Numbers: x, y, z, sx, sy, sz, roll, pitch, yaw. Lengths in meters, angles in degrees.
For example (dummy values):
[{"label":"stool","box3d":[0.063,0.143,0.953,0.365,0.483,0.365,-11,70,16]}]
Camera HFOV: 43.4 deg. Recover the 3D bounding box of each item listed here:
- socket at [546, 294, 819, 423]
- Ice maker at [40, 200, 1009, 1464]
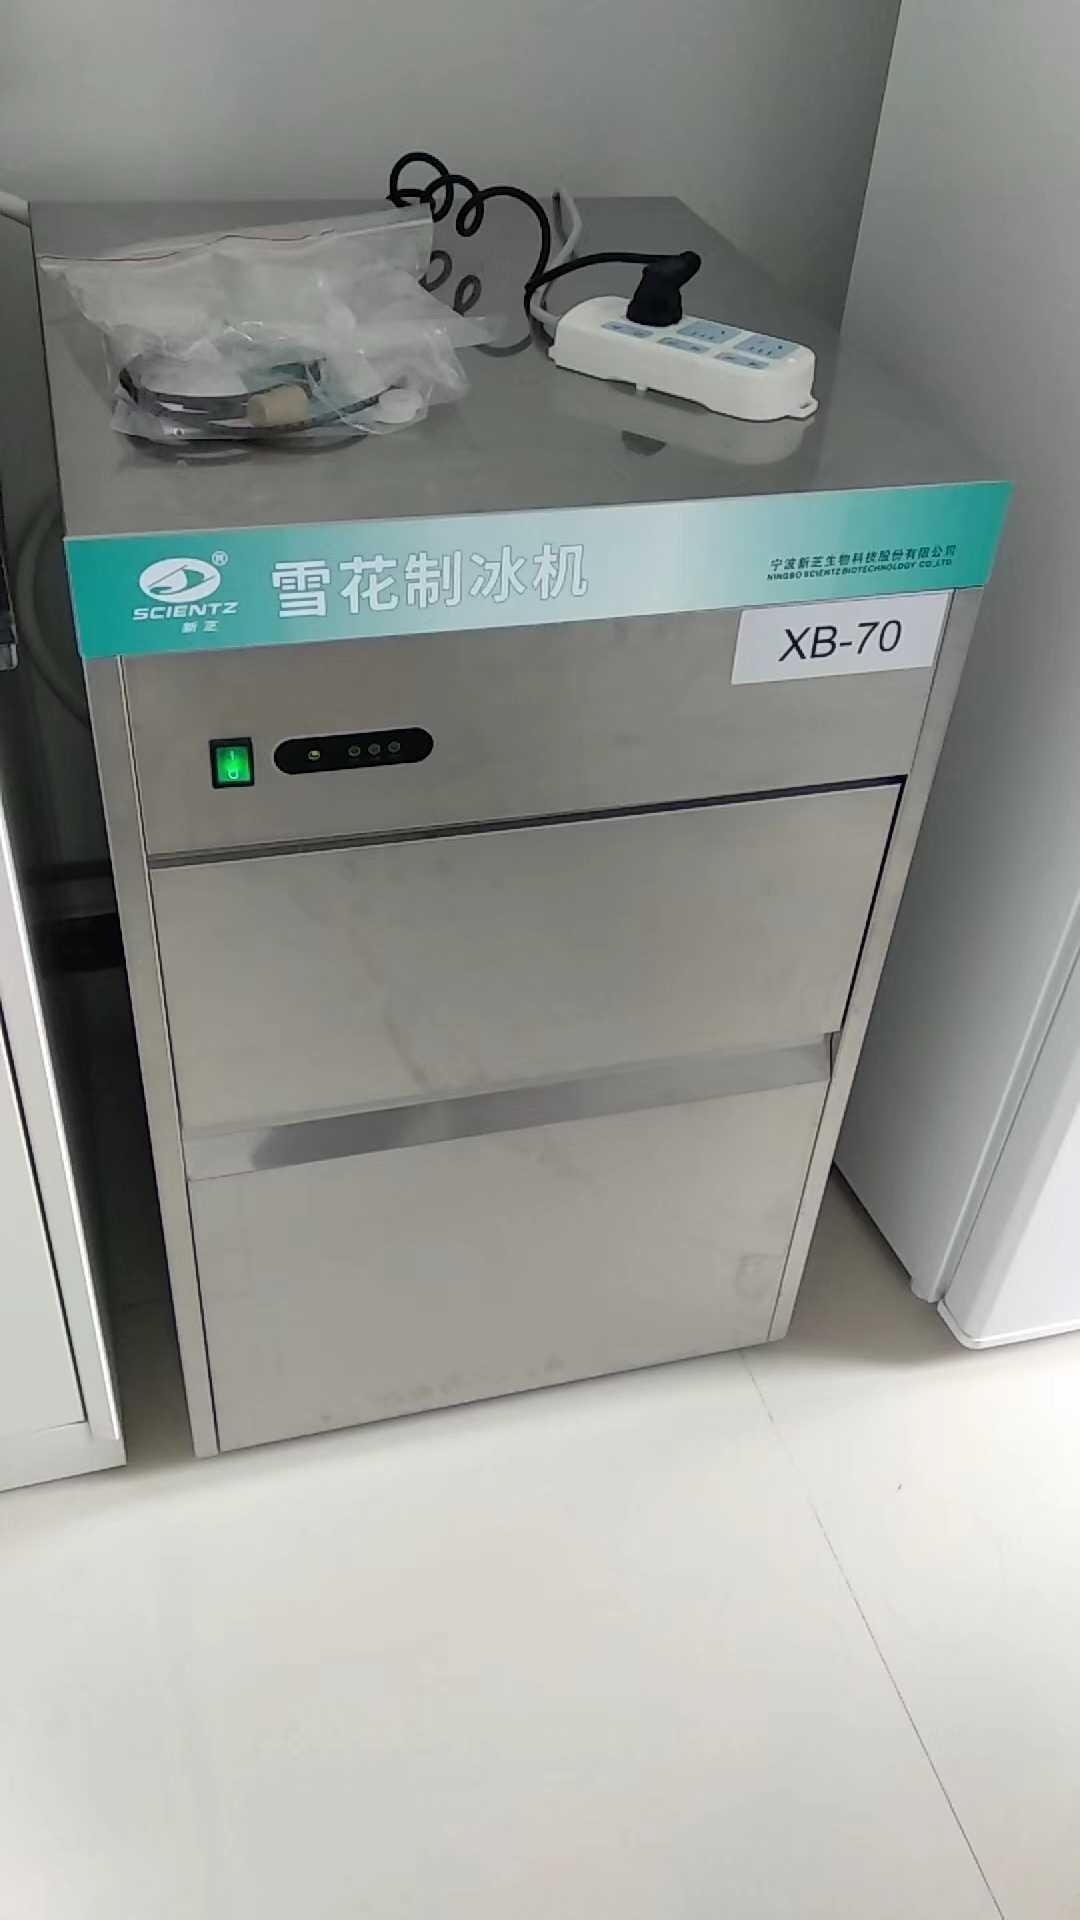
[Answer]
[{"label":"socket","box3d":[0.082,-0.363,0.835,0.167,0.042,0.077,23,50,17]},{"label":"Ice maker","box3d":[-0.059,-0.121,1.123,0.508,0.848,0.581,-9,46,-12]}]
